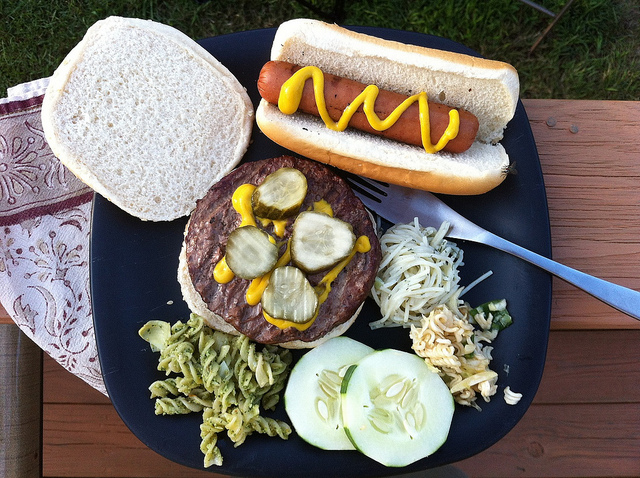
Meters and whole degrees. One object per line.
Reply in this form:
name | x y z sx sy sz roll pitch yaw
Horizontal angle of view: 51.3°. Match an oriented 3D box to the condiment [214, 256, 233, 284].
condiment | -0.789 0.255 5.438 0.142 0.057 0.217 4 86 5
